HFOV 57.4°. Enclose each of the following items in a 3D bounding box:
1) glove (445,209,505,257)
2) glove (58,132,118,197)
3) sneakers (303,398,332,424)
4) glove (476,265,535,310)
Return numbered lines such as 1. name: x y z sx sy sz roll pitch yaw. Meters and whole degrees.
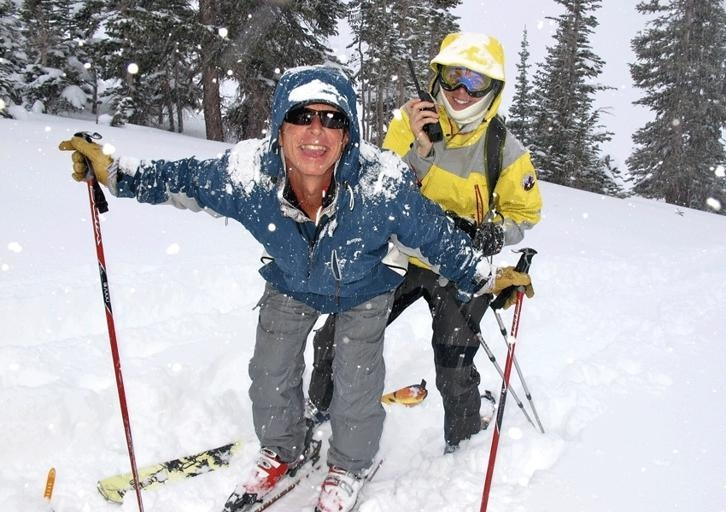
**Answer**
1. glove: 1.361 -0.236 8.088 0.585 0.266 0.430 40 41 8
2. glove: -3.008 -1.095 7.592 0.488 0.719 0.238 -30 11 9
3. sneakers: -0.610 2.009 8.460 0.236 0.359 0.147 -22 -4 -14
4. glove: 1.759 0.289 7.901 0.398 0.572 0.220 28 11 2
